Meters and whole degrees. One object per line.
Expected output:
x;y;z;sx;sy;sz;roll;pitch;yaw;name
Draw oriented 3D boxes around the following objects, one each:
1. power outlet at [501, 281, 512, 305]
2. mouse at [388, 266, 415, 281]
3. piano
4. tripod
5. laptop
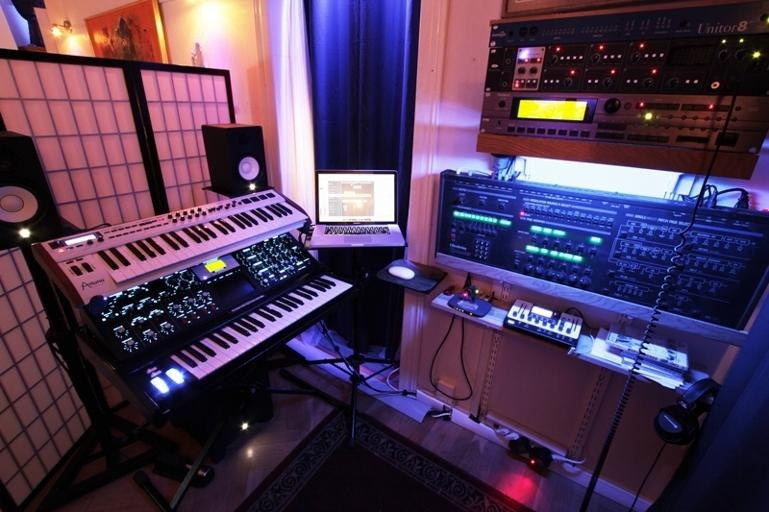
0.790;0.237;3.271;0.046;0.123;0.072;-17;29;-30;power outlet
0.112;0.106;3.317;0.170;0.049;0.122;21;32;39;mouse
-1.048;0.192;2.999;1.447;0.787;0.857;-21;31;-37;piano
-0.233;0.720;3.678;0.507;1.264;0.546;-6;24;-29;tripod
-0.168;-0.349;3.533;0.876;0.536;0.573;1;25;-3;laptop
